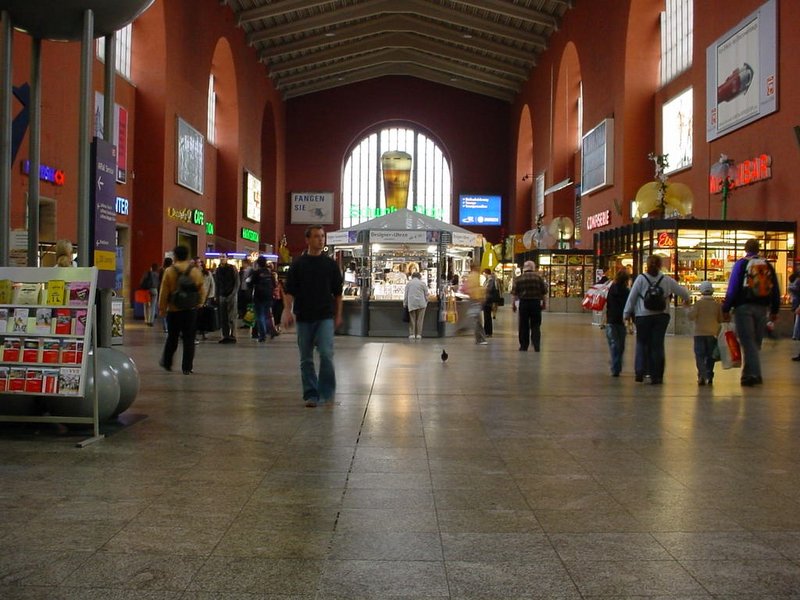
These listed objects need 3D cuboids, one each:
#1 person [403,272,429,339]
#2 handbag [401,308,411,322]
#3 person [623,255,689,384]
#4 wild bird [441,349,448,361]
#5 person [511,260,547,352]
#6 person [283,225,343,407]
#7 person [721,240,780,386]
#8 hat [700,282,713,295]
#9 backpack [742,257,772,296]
[{"bbox_3d":[0.360,0.161,16.420,0.538,1.664,0.971,0,1,1],"label":"person"},{"bbox_3d":[0.120,0.363,16.136,0.234,0.515,0.328,2,-2,0],"label":"handbag"},{"bbox_3d":[3.515,0.276,9.197,0.558,1.785,0.740,-1,1,-35],"label":"person"},{"bbox_3d":[0.766,0.961,11.329,0.043,0.195,0.136,2,4,-26],"label":"wild bird"},{"bbox_3d":[2.719,0.120,14.004,0.676,1.857,1.403,0,1,10],"label":"person"},{"bbox_3d":[-0.945,0.171,7.146,0.611,1.916,0.485,-1,1,-10],"label":"person"},{"bbox_3d":[4.751,0.164,8.983,0.632,1.972,0.952,0,1,31],"label":"person"},{"bbox_3d":[4.237,-0.159,9.189,0.135,0.131,0.224,2,16,14],"label":"hat"},{"bbox_3d":[4.868,-0.292,8.941,0.428,0.532,0.215,-1,1,-18],"label":"backpack"}]
